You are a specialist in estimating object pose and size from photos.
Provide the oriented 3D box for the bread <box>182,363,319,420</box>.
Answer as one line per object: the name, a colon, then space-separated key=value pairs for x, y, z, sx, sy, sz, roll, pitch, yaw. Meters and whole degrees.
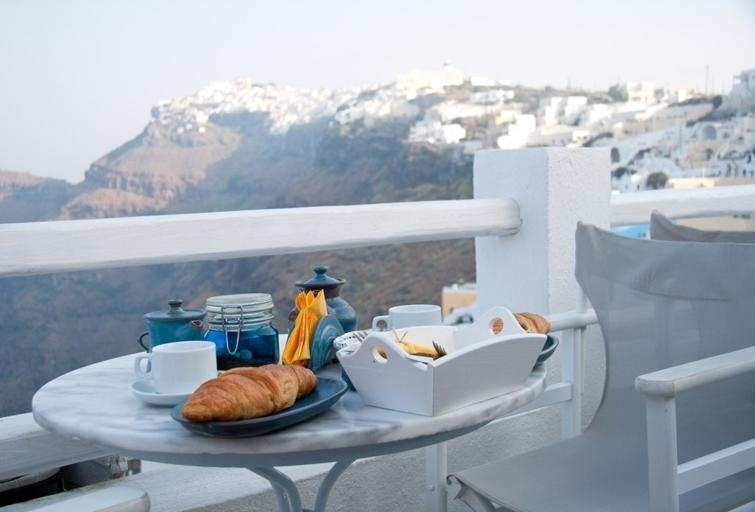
bread: x=-0.249 y=0.201 z=1.483 sx=0.176 sy=0.063 sz=0.099 roll=-13 pitch=27 yaw=-34

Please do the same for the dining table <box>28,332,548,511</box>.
dining table: x=-0.281 y=0.342 z=1.527 sx=0.804 sy=0.453 sz=0.642 roll=3 pitch=3 yaw=-18

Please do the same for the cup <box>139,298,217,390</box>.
cup: x=-0.432 y=0.198 z=1.700 sx=0.190 sy=0.216 sz=0.145 roll=-4 pitch=-4 yaw=17

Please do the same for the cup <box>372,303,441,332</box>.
cup: x=0.064 y=0.126 z=1.797 sx=0.105 sy=0.061 sz=0.079 roll=-5 pitch=1 yaw=9

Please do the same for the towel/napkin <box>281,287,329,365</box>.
towel/napkin: x=-0.159 y=0.154 z=1.748 sx=0.057 sy=0.169 sz=0.091 roll=2 pitch=6 yaw=-15

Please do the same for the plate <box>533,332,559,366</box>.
plate: x=0.374 y=0.202 z=1.749 sx=0.059 sy=0.026 sz=0.066 roll=-6 pitch=11 yaw=-2

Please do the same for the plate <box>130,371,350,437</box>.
plate: x=-0.267 y=0.263 z=1.578 sx=0.299 sy=0.100 sz=0.326 roll=-4 pitch=3 yaw=31
